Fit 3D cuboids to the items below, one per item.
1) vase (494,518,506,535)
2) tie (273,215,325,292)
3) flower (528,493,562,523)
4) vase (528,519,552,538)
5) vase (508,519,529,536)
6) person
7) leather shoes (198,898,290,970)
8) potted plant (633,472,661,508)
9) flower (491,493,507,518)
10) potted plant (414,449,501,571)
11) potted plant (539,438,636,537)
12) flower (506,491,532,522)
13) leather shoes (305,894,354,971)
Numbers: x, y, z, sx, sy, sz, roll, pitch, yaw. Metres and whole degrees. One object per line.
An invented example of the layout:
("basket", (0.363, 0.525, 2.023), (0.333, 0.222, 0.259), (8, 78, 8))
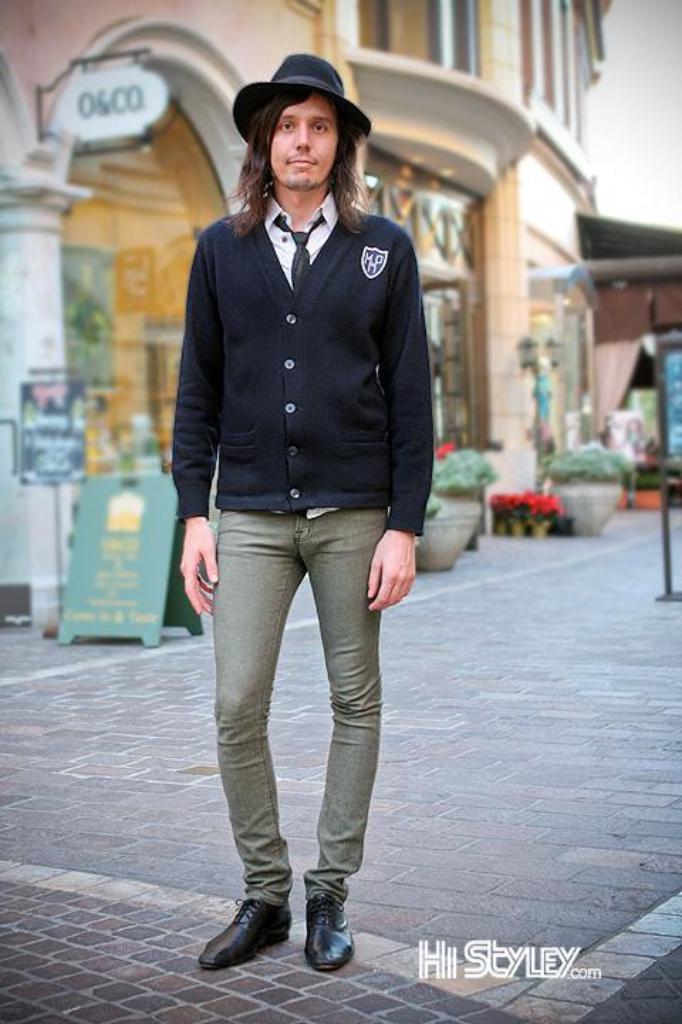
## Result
("vase", (2.566, 0.250, 16.046), (0.235, 0.244, 0.225), (0, -6, 0))
("tie", (-0.082, -0.500, 1.901), (0.097, 0.160, 0.066), (-1, -2, -3))
("flower", (3.146, -0.043, 15.266), (0.417, 0.386, 0.402), (1, -1, -2))
("vase", (3.097, 0.272, 15.446), (0.277, 0.192, 0.269), (1, -9, 0))
("vase", (2.802, 0.260, 15.729), (0.233, 0.178, 0.241), (1, -5, -8))
("person", (-0.082, 0.021, 1.937), (0.520, 1.687, 0.214), (-1, -2, 5))
("leather shoes", (-0.176, 0.802, 1.917), (0.072, 0.089, 0.211), (0, 0, 34))
("potted plant", (6.825, -0.466, 22.165), (0.517, 0.866, 1.272), (-2, -2, 18))
("flower", (2.513, -0.104, 15.818), (0.285, 0.289, 0.300), (1, -7, 8))
("potted plant", (1.083, 0.092, 11.390), (0.954, 0.995, 0.878), (-2, 6, -44))
("potted plant", (3.907, -0.326, 15.765), (1.497, 1.426, 1.505), (-3, 5, -38))
("flower", (2.788, -0.071, 15.561), (0.441, 0.344, 0.424), (1, -1, 5))
("leather shoes", (-0.029, 0.797, 1.920), (0.094, 0.084, 0.252), (3, 4, -6))
